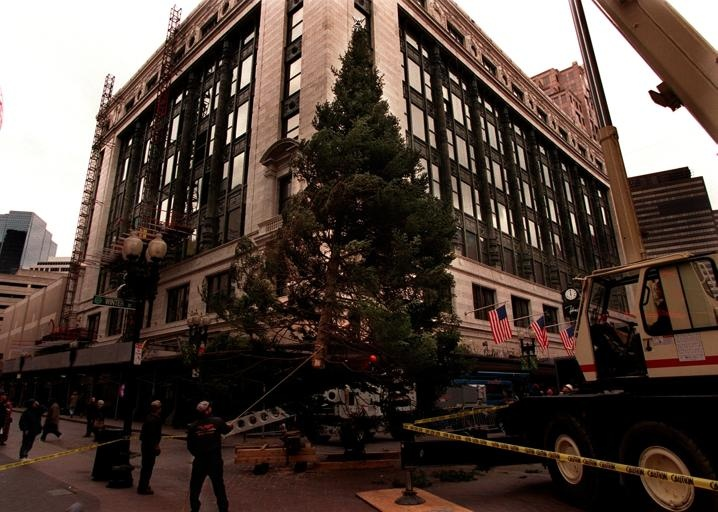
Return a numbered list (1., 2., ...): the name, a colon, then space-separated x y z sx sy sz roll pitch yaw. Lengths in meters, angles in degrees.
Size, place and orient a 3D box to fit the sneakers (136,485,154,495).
1. sneakers: -5.790 6.405 14.253 0.414 0.178 0.246 4 -13 -21
